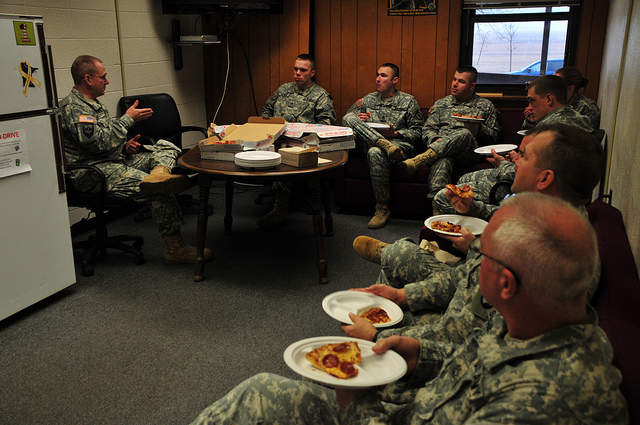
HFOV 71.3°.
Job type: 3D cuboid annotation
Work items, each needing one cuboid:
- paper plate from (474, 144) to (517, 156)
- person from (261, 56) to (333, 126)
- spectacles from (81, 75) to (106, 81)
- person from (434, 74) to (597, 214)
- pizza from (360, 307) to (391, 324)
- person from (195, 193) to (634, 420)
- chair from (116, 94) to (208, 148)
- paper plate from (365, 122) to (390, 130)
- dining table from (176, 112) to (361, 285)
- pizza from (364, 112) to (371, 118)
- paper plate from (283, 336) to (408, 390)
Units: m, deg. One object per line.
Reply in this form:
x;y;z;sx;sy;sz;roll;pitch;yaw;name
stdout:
1.560;-0.546;3.988;0.264;0.063;0.344;18;27;39;paper plate
-0.254;-1.312;5.024;0.985;0.778;0.531;14;23;29;person
-1.839;-1.083;3.617;0.172;0.051;0.058;-17;26;-36;spectacles
1.697;-0.362;3.818;1.165;1.521;0.652;10;19;33;person
0.258;0.466;2.024;0.127;0.022;0.119;-14;25;-32;pizza
0.457;0.328;1.746;1.508;0.939;0.761;1;10;10;person
-1.689;-0.974;4.723;0.729;0.849;0.668;15;23;36;chair
0.603;-0.884;4.643;0.219;0.054;0.144;19;28;42;paper plate
-0.398;-0.364;3.910;1.494;0.869;1.466;2;17;4;dining table
0.527;-1.071;4.949;0.069;0.048;0.090;14;25;33;pizza
0.091;0.536;1.624;0.436;0.105;0.284;1;21;4;paper plate
